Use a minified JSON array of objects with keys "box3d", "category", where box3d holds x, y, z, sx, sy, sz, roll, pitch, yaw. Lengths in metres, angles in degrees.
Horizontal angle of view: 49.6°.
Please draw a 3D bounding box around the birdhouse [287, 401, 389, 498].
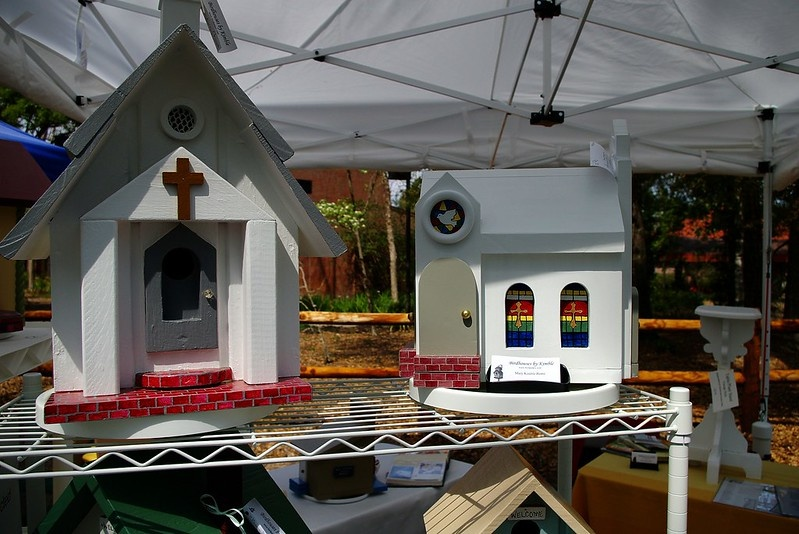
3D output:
[{"box3d":[-0.376,1.660,7.110,0.707,0.720,0.677,-5,-35,11],"category":"birdhouse"}]
